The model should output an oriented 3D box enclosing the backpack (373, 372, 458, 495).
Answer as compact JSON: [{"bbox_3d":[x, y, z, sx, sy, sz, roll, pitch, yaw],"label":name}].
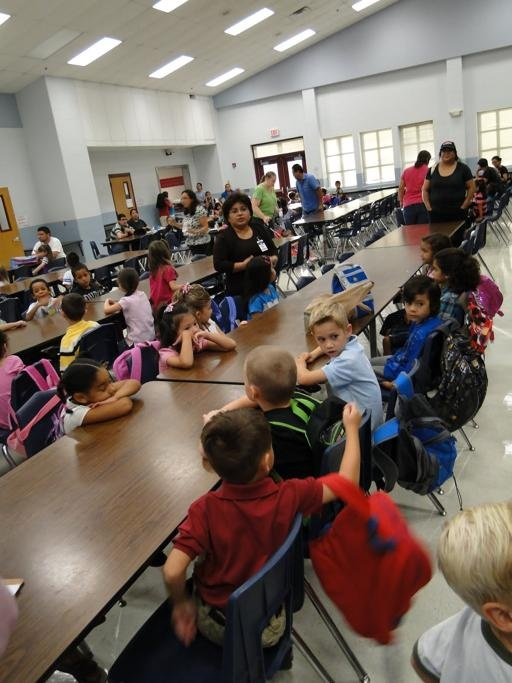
[{"bbox_3d":[0.574,0.323,1.690,0.309,0.454,0.428,4,26,18],"label":"backpack"}]

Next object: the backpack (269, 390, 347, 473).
[{"bbox_3d":[0.144,0.257,1.454,0.248,0.250,0.187,6,17,40],"label":"backpack"}]

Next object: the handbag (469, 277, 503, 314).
[{"bbox_3d":[1.391,-0.264,2.822,0.078,0.221,0.289,-24,13,39],"label":"handbag"}]

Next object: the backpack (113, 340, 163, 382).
[{"bbox_3d":[-0.624,0.107,2.493,0.104,0.183,0.162,24,38,20],"label":"backpack"}]

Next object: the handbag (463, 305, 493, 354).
[{"bbox_3d":[1.093,-0.070,2.341,0.173,0.076,0.237,9,45,-10],"label":"handbag"}]
